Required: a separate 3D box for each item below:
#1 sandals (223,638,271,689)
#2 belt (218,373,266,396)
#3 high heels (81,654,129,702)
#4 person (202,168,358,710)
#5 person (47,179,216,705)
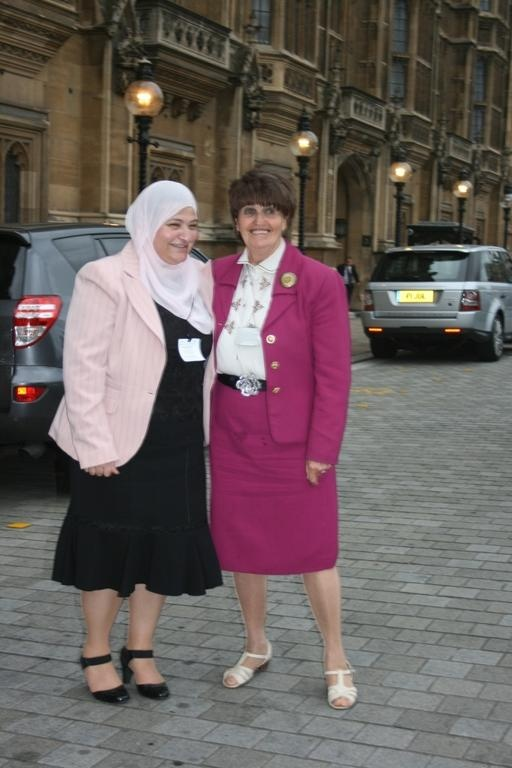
[{"bbox_3d":[-0.036,0.936,2.728,0.091,0.087,0.176,3,4,35],"label":"sandals"},{"bbox_3d":[-0.044,-0.010,2.600,0.109,0.021,0.077,16,12,30],"label":"belt"},{"bbox_3d":[-0.460,0.923,2.597,0.075,0.085,0.220,0,6,-38],"label":"high heels"},{"bbox_3d":[0.048,0.154,2.625,0.654,1.604,0.518,-1,0,33],"label":"person"},{"bbox_3d":[-0.365,0.011,2.570,0.529,1.284,0.282,-1,2,-15],"label":"person"}]
